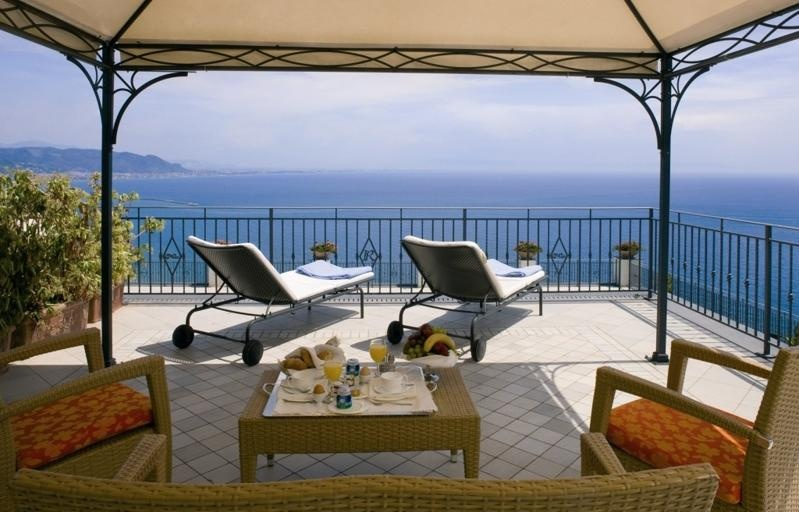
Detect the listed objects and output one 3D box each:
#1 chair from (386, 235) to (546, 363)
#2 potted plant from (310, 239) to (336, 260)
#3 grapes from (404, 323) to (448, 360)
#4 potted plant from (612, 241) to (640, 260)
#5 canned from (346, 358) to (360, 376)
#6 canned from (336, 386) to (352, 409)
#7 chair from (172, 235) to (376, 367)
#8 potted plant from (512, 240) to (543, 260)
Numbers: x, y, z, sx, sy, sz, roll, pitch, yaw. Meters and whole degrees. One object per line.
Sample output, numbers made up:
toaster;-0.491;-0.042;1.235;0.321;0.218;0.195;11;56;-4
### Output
chair;0.730;0.315;7.179;1.073;1.062;1.876;4;11;35
potted plant;-1.168;-0.087;9.954;0.313;0.216;0.310;0;10;10
grapes;0.215;0.749;5.732;0.286;0.118;0.358;4;14;17
potted plant;3.439;-0.071;9.786;0.295;0.203;0.300;1;3;44
canned;-0.328;0.801;4.662;0.103;0.101;0.106;0;0;36
canned;-0.359;0.917;4.200;0.127;0.136;0.125;1;-2;-4
chair;-1.291;0.342;7.366;1.182;1.162;2.225;6;10;34
potted plant;2.029;-0.081;10.127;0.352;0.240;0.313;0;-1;0
